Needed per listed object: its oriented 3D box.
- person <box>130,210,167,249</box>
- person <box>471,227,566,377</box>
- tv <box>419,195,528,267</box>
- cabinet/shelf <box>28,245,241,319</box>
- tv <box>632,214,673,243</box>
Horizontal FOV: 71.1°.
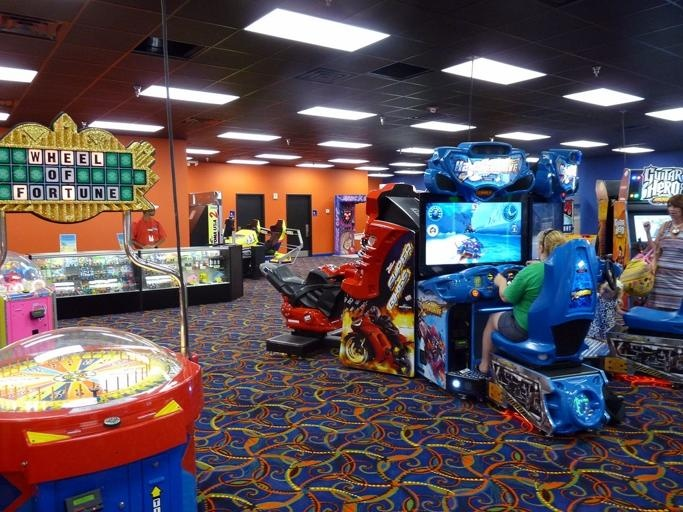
[{"bbox_3d":[-3.398,-0.469,8.405,0.504,0.627,1.121,-4,8,-21],"label":"person"},{"bbox_3d":[1.461,0.431,3.901,0.431,1.291,0.707,-6,9,-30],"label":"person"},{"bbox_3d":[1.269,-0.222,4.568,1.483,0.669,0.078,-2,3,-34],"label":"tv"},{"bbox_3d":[-3.185,0.414,7.707,2.918,0.772,0.445,-6,9,4],"label":"cabinet/shelf"},{"bbox_3d":[4.030,-0.359,6.154,0.597,0.427,0.054,1,0,15],"label":"tv"}]
